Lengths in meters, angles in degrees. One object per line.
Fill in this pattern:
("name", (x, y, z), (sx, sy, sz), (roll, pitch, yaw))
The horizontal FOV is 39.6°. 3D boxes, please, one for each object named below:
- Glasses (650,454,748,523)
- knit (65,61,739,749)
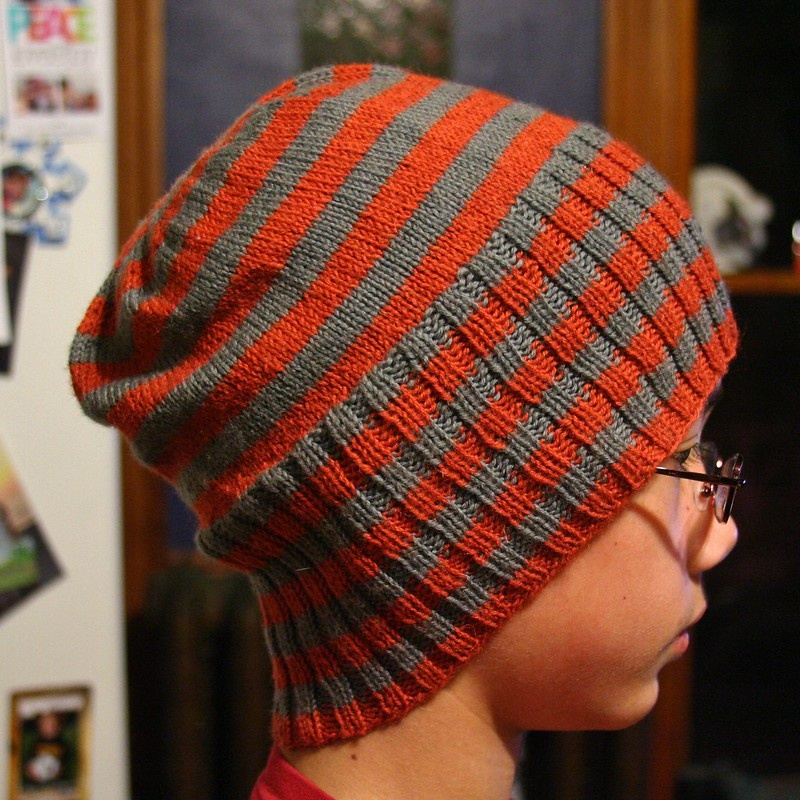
("Glasses", (0.451, 0.127, 1.682), (0.128, 0.052, 0.120), (4, -8, -4))
("knit", (0.060, 0.059, 1.892), (1.084, 0.992, 0.909), (-8, 9, -16))
